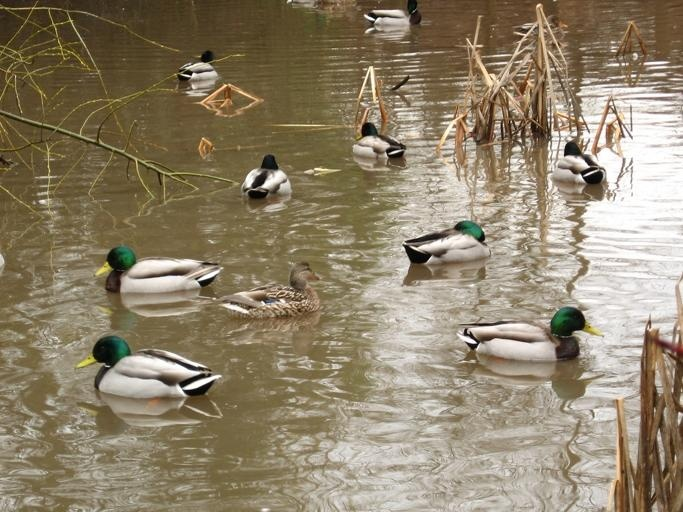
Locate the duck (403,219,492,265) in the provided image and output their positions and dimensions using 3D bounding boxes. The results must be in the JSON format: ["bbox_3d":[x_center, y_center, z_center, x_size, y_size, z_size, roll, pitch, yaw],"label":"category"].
[{"bbox_3d":[1.502,-0.200,12.748,1.654,0.469,0.697,-8,27,-24],"label":"duck"}]

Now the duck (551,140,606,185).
[{"bbox_3d":[4.380,-1.694,15.815,0.939,0.597,1.204,-10,21,-3],"label":"duck"}]
